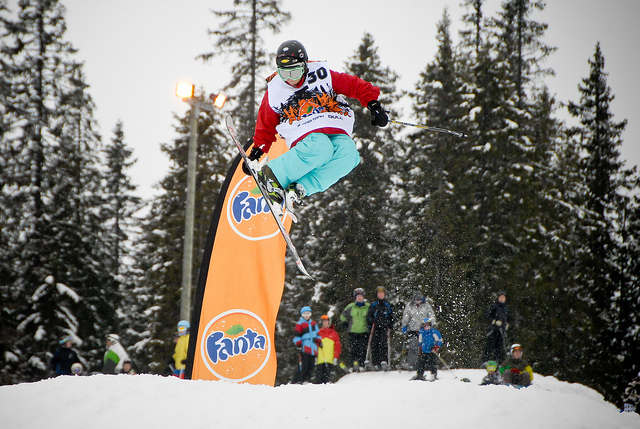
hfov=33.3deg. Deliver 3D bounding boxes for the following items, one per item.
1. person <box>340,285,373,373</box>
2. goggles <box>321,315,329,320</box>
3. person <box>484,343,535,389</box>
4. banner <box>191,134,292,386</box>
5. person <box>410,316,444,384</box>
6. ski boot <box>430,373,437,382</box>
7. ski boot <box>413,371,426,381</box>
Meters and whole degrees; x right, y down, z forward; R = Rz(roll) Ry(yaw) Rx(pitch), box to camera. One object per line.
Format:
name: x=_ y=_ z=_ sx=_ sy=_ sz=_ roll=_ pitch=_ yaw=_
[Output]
person: x=1.349 y=4.349 z=39.310 sx=1.023 sy=3.164 sz=0.581 roll=2 pitch=13 yaw=0
goggles: x=0.143 y=3.741 z=38.647 sx=0.166 sy=0.159 sz=0.170 roll=-11 pitch=-7 yaw=5
person: x=6.814 y=5.552 z=37.424 sx=1.119 sy=1.734 sz=0.974 roll=-4 pitch=-2 yaw=20
banner: x=-2.555 y=1.666 z=35.889 sx=2.771 sy=0.484 sz=12.735 roll=-3 pitch=-44 yaw=-13
person: x=3.805 y=4.844 z=38.137 sx=0.928 sy=2.219 sz=1.171 roll=4 pitch=13 yaw=7
ski boot: x=3.984 y=5.786 z=38.091 sx=0.319 sy=0.329 sz=0.083 roll=-10 pitch=-19 yaw=40
ski boot: x=3.497 y=5.793 z=38.159 sx=0.363 sy=0.370 sz=0.350 roll=-11 pitch=-35 yaw=34
